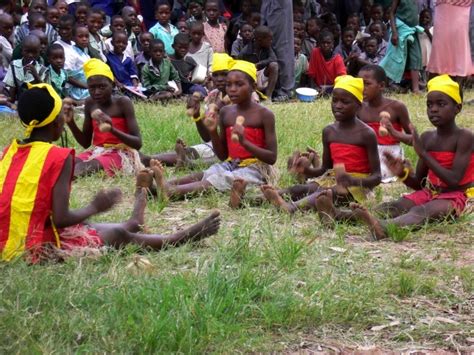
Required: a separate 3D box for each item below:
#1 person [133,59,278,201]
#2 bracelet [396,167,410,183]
[{"bbox_3d":[-0.470,-0.421,5.300,1.786,1.412,0.838,-13,18,-40],"label":"person"},{"bbox_3d":[1.469,-0.018,4.707,0.042,0.113,0.113,17,17,-4],"label":"bracelet"}]
